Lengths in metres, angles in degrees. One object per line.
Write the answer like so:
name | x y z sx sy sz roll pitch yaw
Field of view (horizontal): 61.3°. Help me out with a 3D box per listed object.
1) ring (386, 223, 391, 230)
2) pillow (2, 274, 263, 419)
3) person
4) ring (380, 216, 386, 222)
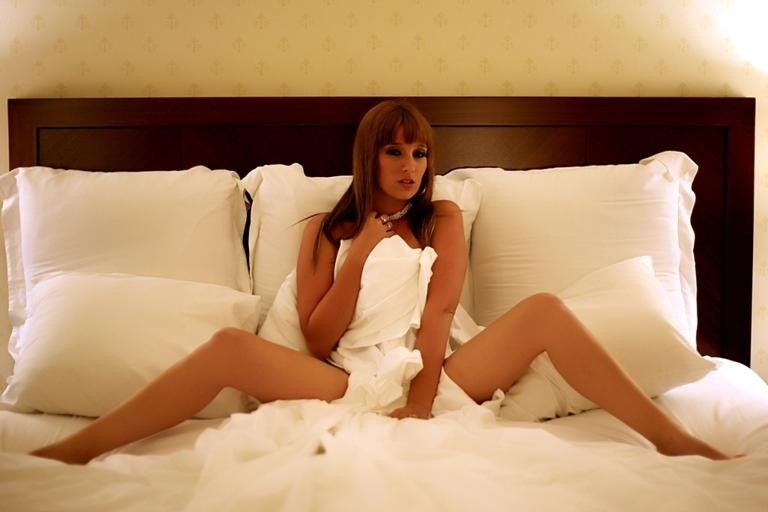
ring | 0.018 -0.115 2.556 0.018 0.024 0.025 -5 -5 0
pillow | -0.956 0.311 2.401 0.768 0.529 0.256 7 -10 -1
person | -0.078 0.085 2.438 2.203 1.447 0.828 -1 -7 -4
ring | 0.002 -0.144 2.548 0.018 0.020 0.007 -4 -28 -24
